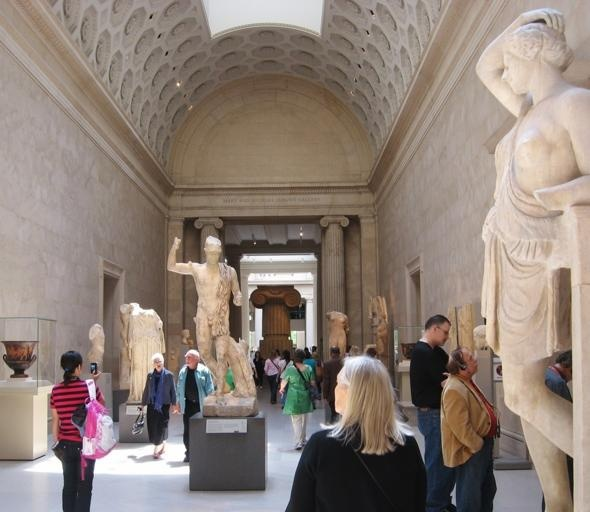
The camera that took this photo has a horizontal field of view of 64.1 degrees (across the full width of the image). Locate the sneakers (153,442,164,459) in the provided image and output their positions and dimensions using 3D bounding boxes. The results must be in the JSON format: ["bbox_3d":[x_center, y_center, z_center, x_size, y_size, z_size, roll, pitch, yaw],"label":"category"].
[{"bbox_3d":[-2.487,3.560,8.660,0.111,0.217,0.486,2,-24,-5],"label":"sneakers"}]

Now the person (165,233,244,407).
[{"bbox_3d":[-1.291,0.817,7.119,1.083,2.419,0.902,3,-10,-17],"label":"person"}]

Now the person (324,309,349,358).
[{"bbox_3d":[1.362,2.666,15.636,0.673,1.966,0.465,1,22,0],"label":"person"}]

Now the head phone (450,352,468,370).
[{"bbox_3d":[1.385,0.895,4.033,0.094,0.170,0.125,2,-2,8],"label":"head phone"}]

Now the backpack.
[{"bbox_3d":[-1.868,1.545,4.453,0.381,0.734,0.375,3,-10,-12],"label":"backpack"}]

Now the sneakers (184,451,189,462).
[{"bbox_3d":[-1.868,3.412,8.066,0.061,0.175,0.173,6,-12,-31],"label":"sneakers"}]
